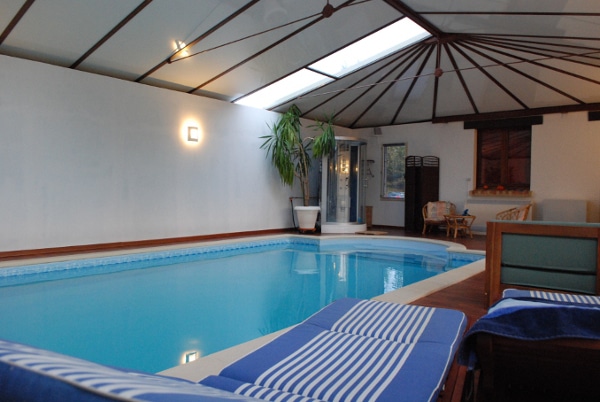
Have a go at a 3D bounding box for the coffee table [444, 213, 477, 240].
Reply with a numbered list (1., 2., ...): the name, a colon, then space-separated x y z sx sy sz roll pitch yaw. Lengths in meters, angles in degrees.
1. coffee table: 4.322 0.657 10.151 0.817 0.594 0.755 -1 -1 -9

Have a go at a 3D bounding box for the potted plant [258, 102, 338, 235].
1. potted plant: 0.142 -1.022 11.156 2.575 3.770 2.634 -1 -4 19

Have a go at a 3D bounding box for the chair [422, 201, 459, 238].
1. chair: 3.973 0.465 10.762 0.889 1.028 0.932 3 -1 6

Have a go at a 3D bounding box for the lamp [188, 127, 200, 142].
1. lamp: -2.581 -1.617 9.000 0.096 0.389 0.349 0 4 36

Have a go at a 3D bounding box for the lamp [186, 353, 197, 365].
1. lamp: -1.033 1.489 3.509 0.100 0.098 0.075 2 3 36
